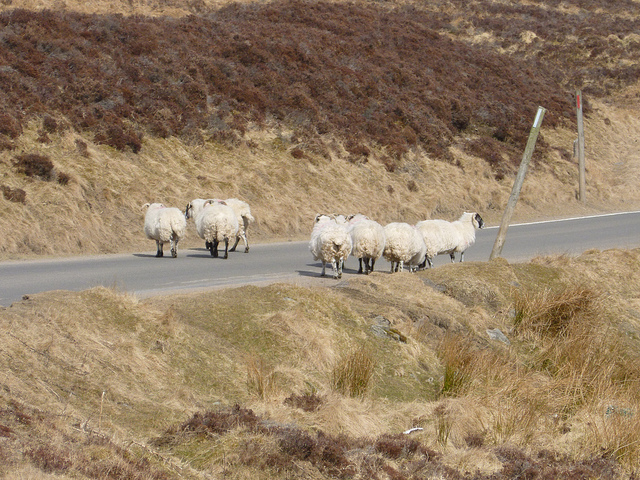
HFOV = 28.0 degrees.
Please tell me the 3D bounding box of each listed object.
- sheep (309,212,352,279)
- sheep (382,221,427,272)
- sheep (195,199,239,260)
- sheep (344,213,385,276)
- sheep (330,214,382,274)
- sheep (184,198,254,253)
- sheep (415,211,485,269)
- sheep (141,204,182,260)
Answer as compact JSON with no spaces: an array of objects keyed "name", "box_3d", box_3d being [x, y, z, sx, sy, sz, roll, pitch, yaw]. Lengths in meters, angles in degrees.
[{"name":"sheep","box_3d":[0.498,-0.049,59.950,1.253,2.381,3.288,-1,11,-8]},{"name":"sheep","box_3d":[3.900,0.235,59.197,1.259,1.978,2.713,5,-1,14]},{"name":"sheep","box_3d":[-4.818,-0.486,63.335,1.990,2.546,4.093,1,5,-4]},{"name":"sheep","box_3d":[2.195,0.394,60.458,1.658,2.315,3.903,0,2,-5]},{"name":"sheep","box_3d":[1.910,0.123,59.523,1.751,2.699,1.821,-2,10,-10]},{"name":"sheep","box_3d":[-4.783,-1.201,64.465,2.550,3.303,2.636,-3,12,-16]},{"name":"sheep","box_3d":[5.630,0.209,61.956,2.513,3.155,2.645,7,14,33]},{"name":"sheep","box_3d":[-7.625,-0.464,62.602,1.729,2.729,2.804,3,14,-9]}]
